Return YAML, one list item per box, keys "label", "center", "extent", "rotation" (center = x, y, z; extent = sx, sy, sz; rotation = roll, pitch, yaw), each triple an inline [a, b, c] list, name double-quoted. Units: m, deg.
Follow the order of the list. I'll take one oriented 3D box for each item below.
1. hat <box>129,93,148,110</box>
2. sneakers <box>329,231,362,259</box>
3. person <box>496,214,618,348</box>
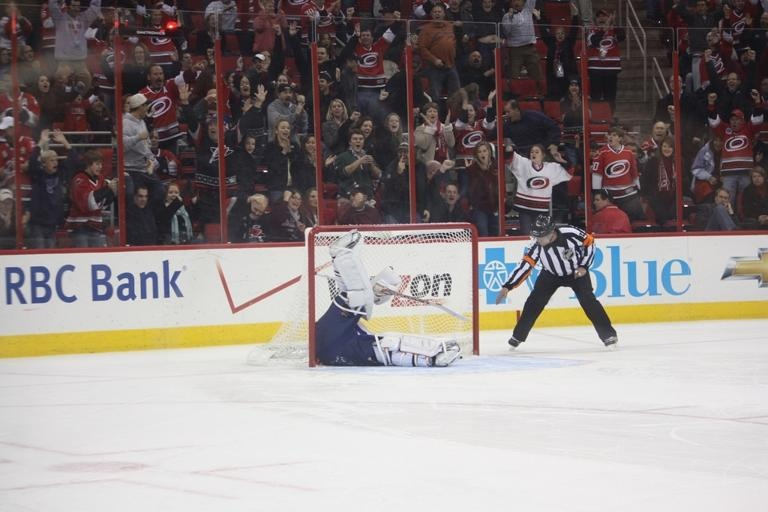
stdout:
- label: "hat"
  center: [-3.338, -2.116, 16.061]
  extent: [0.163, 0.131, 0.238]
  rotation: [5, 36, 35]
- label: "sneakers"
  center: [-0.467, -0.143, 14.684]
  extent: [0.369, 0.120, 0.285]
  rotation: [-35, 16, -4]
- label: "person"
  center: [2.343, 0.356, 15.591]
  extent: [1.416, 1.793, 0.593]
  rotation: [0, 11, 5]
